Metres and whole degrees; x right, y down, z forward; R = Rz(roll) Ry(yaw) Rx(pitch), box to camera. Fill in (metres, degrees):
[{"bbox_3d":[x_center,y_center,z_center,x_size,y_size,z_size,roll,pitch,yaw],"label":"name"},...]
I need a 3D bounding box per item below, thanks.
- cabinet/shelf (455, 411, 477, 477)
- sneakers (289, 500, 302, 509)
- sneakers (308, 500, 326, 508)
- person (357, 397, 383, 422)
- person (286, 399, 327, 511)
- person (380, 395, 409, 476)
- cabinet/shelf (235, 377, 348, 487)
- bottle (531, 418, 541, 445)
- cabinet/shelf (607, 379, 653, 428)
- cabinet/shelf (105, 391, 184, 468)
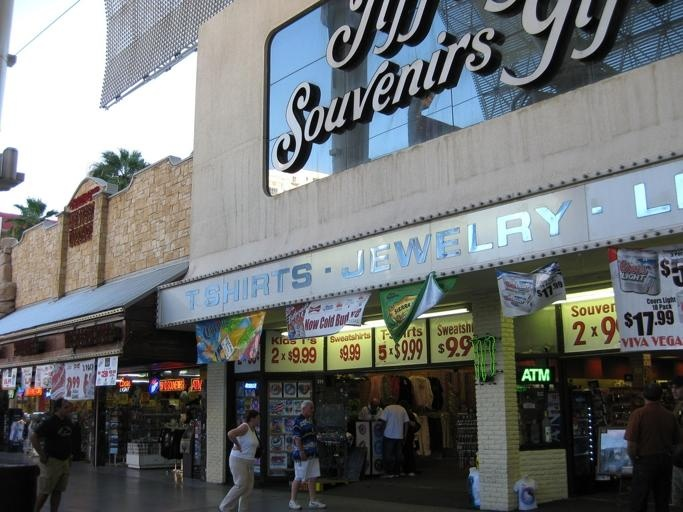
[{"bbox_3d":[3.549,4.920,19.693,0.499,1.593,0.938,-4,25,4],"label":"cabinet/shelf"},{"bbox_3d":[-0.924,5.012,13.925,0.228,0.178,0.260,0,-17,-8],"label":"sneakers"},{"bbox_3d":[-0.481,5.009,14.000,0.339,0.175,0.132,-1,-5,12],"label":"sneakers"},{"bbox_3d":[0.772,4.053,18.262,0.663,0.609,0.859,-3,-17,1],"label":"person"},{"bbox_3d":[-0.709,4.068,14.188,0.727,2.117,0.855,-1,-16,-2],"label":"person"},{"bbox_3d":[1.395,4.664,17.770,0.683,1.891,0.991,-3,-16,3],"label":"person"},{"bbox_3d":[-1.327,4.694,18.037,2.570,2.804,2.208,-3,-34,-1],"label":"cabinet/shelf"},{"bbox_3d":[3.924,3.526,13.891,0.232,0.468,0.062,10,-20,-36],"label":"bottle"},{"bbox_3d":[6.181,3.289,14.945,0.751,0.785,0.402,-8,-31,38],"label":"cabinet/shelf"},{"bbox_3d":[-6.402,5.693,22.315,1.698,1.853,0.935,13,-26,-37],"label":"cabinet/shelf"}]
